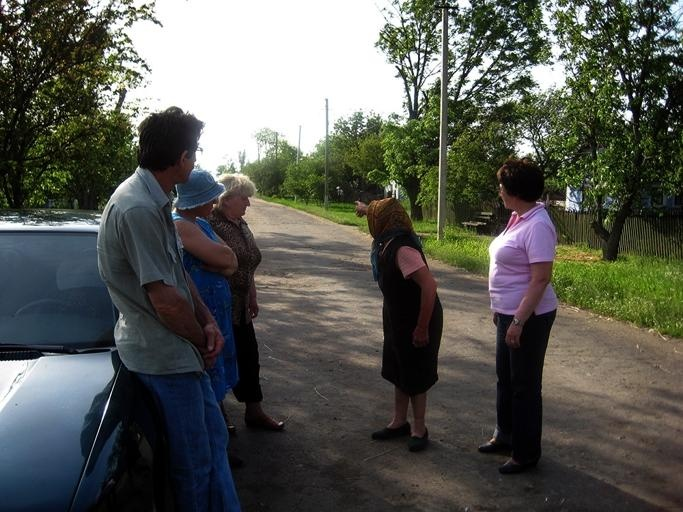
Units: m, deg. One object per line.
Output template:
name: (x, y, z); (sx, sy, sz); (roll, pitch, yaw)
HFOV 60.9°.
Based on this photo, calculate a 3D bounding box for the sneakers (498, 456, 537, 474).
sneakers: (1.300, 1.564, 4.405); (0.306, 0.156, 0.117); (1, -2, -11)

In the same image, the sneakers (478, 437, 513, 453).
sneakers: (1.213, 1.533, 4.673); (0.303, 0.152, 0.113); (4, -4, -10)

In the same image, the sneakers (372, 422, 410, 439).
sneakers: (0.406, 1.443, 4.858); (0.316, 0.150, 0.124); (0, -5, -21)

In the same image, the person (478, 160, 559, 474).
person: (1.333, 0.433, 4.440); (0.475, 2.320, 0.500); (-2, 8, -22)

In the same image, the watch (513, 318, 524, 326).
watch: (1.286, 0.480, 4.250); (0.050, 0.059, 0.049); (11, 8, 42)

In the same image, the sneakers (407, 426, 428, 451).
sneakers: (0.608, 1.481, 4.665); (0.134, 0.112, 0.377); (-4, -3, 13)

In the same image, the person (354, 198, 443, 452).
person: (0.474, 0.533, 4.712); (0.607, 1.974, 0.339); (6, 9, 33)

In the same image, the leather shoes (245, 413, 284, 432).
leather shoes: (-0.650, 1.413, 4.967); (0.328, 0.157, 0.129); (-1, 12, 13)
